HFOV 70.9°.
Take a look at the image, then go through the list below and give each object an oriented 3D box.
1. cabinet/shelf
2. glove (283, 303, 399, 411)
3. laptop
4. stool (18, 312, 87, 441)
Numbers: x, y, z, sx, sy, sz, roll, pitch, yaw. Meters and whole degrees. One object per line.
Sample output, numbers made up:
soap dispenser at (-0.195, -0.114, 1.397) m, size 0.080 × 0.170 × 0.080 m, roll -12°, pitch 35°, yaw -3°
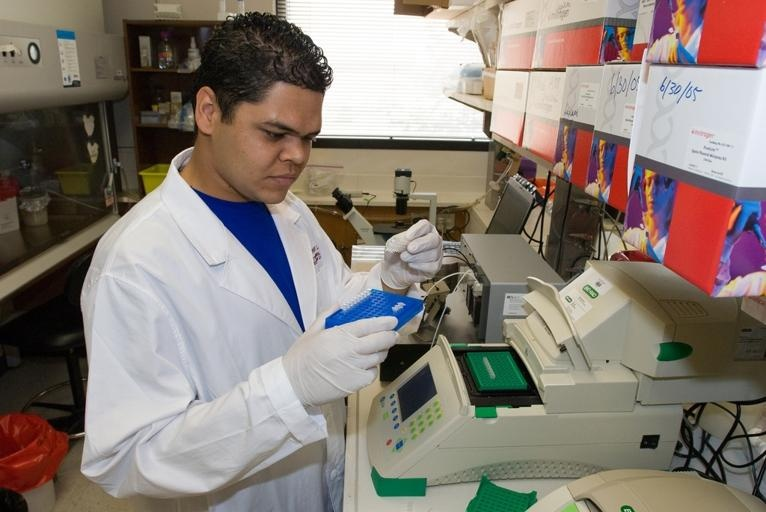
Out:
cabinet/shelf at (-1.594, -1.109, 4.231) m, size 0.633 × 1.261 × 0.298 m, roll 1°, pitch 21°, yaw -2°
glove at (-0.119, 0.306, 1.544) m, size 0.335 × 0.217 × 0.137 m, roll -3°, pitch 22°, yaw -10°
laptop at (0.502, -0.233, 2.741) m, size 0.392 × 0.455 × 0.502 m, roll 1°, pitch 22°, yaw -4°
stool at (-1.800, 0.727, 3.187) m, size 0.507 × 0.618 × 0.525 m, roll -3°, pitch 25°, yaw -30°
